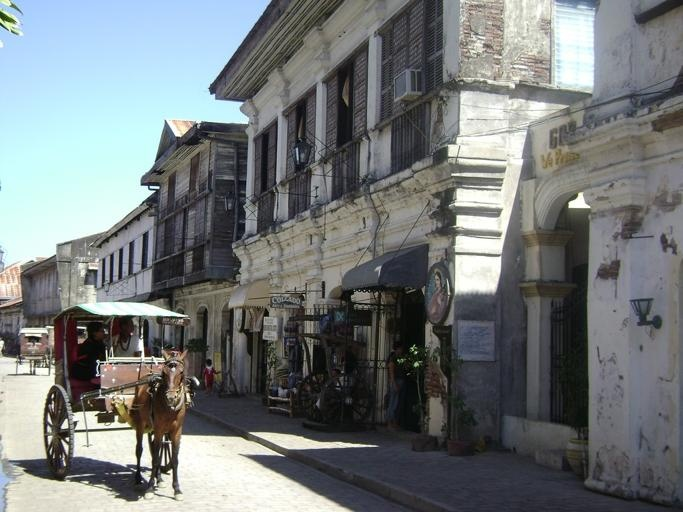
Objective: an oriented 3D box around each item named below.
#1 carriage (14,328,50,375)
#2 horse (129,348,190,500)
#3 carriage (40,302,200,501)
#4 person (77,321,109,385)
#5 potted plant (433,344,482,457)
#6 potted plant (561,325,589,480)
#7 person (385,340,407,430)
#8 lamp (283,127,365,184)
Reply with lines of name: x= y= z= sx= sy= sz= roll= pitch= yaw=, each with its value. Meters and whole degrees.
carriage: x=-18.575 y=5.181 z=46.418 sx=1.865 sy=3.349 sz=2.091 roll=2 pitch=24 yaw=-18
horse: x=-2.670 y=2.474 z=11.377 sx=0.661 sy=2.105 sz=1.535 roll=3 pitch=-9 yaw=-28
carriage: x=-3.558 y=2.255 z=12.440 sx=1.995 sy=2.928 sz=3.484 roll=0 pitch=-4 yaw=-41
person: x=-4.336 y=1.755 z=13.431 sx=0.623 sy=1.242 sz=0.491 roll=7 pitch=7 yaw=-1
potted plant: x=2.136 y=2.639 z=14.673 sx=0.703 sy=2.541 sz=0.785 roll=-8 pitch=0 yaw=-22
potted plant: x=3.966 y=2.499 z=12.638 sx=0.360 sy=2.039 sz=0.480 roll=-1 pitch=1 yaw=-22
person: x=1.256 y=2.814 z=16.699 sx=0.338 sy=1.884 sz=0.592 roll=1 pitch=-1 yaw=39
lamp: x=-0.384 y=-2.731 z=19.358 sx=1.459 sy=1.824 sz=1.488 roll=-5 pitch=4 yaw=-29
